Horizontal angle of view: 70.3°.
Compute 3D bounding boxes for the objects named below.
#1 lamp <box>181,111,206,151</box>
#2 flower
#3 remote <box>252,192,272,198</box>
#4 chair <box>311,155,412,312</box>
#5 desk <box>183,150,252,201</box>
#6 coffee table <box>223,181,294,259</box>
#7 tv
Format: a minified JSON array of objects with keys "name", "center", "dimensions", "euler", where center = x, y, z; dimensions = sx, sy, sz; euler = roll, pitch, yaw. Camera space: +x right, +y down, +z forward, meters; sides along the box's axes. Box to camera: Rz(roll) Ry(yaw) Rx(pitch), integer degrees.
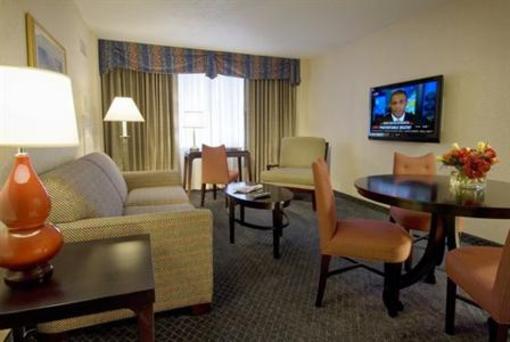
[{"name":"lamp","center":[-1.046,-0.693,6.164],"dimensions":[0.360,0.633,0.580],"euler":[-3,11,-11]},{"name":"flower","center":[1.833,-0.046,3.136],"dimensions":[0.407,0.328,0.420],"euler":[-1,1,-19]},{"name":"remote","center":[0.090,0.254,3.927],"dimensions":[0.255,0.082,0.067],"euler":[-1,11,-39]},{"name":"chair","center":[0.923,0.530,3.605],"dimensions":[1.063,1.534,1.052],"euler":[0,4,19]},{"name":"desk","center":[-0.641,0.224,6.076],"dimensions":[1.120,0.873,0.744],"euler":[-1,4,-10]},{"name":"coffee table","center":[0.094,0.356,4.031],"dimensions":[0.926,0.655,0.646],"euler":[3,7,32]},{"name":"tv","center":[2.011,-0.814,4.759],"dimensions":[0.094,0.730,0.966],"euler":[-1,4,-25]}]
